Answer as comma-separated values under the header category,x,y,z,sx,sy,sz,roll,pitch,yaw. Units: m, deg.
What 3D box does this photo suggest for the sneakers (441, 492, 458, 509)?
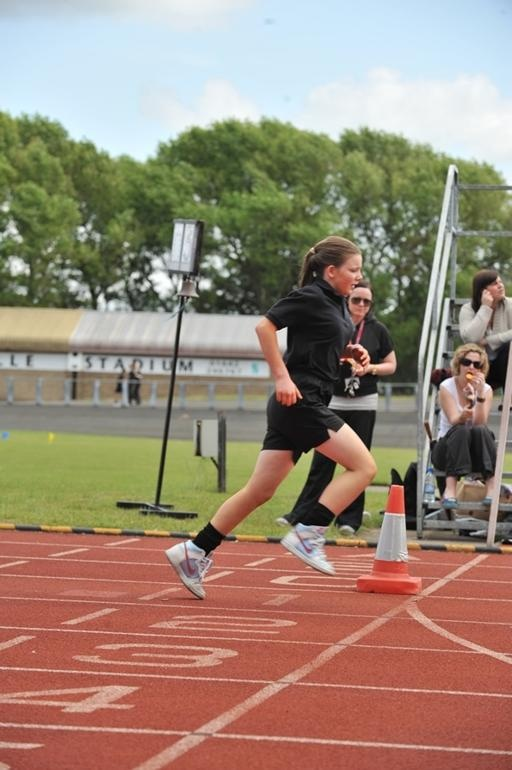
category,x,y,z,sx,sy,sz,roll,pitch,yaw
sneakers,1.368,0.841,8.805,0.108,0.091,0.115,5,1,8

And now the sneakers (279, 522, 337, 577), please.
category,x,y,z,sx,sy,sz,roll,pitch,yaw
sneakers,0.240,0.782,5.888,0.255,0.226,0.176,5,1,1

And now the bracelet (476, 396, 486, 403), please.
category,x,y,z,sx,sy,sz,roll,pitch,yaw
bracelet,1.601,0.097,8.789,0.050,0.031,0.049,3,1,-28

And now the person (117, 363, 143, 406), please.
category,x,y,z,sx,sy,sz,roll,pitch,yaw
person,-1.347,-0.047,12.951,0.276,0.421,0.724,5,1,-6

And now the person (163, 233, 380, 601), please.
category,x,y,z,sx,sy,sz,roll,pitch,yaw
person,0.144,0.166,5.965,0.892,1.646,0.771,5,1,5

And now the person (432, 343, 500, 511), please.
category,x,y,z,sx,sy,sz,roll,pitch,yaw
person,1.520,0.320,8.978,0.461,1.197,0.635,5,1,7

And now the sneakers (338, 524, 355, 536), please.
category,x,y,z,sx,sy,sz,roll,pitch,yaw
sneakers,0.650,1.045,8.943,0.059,0.133,0.058,2,37,18
